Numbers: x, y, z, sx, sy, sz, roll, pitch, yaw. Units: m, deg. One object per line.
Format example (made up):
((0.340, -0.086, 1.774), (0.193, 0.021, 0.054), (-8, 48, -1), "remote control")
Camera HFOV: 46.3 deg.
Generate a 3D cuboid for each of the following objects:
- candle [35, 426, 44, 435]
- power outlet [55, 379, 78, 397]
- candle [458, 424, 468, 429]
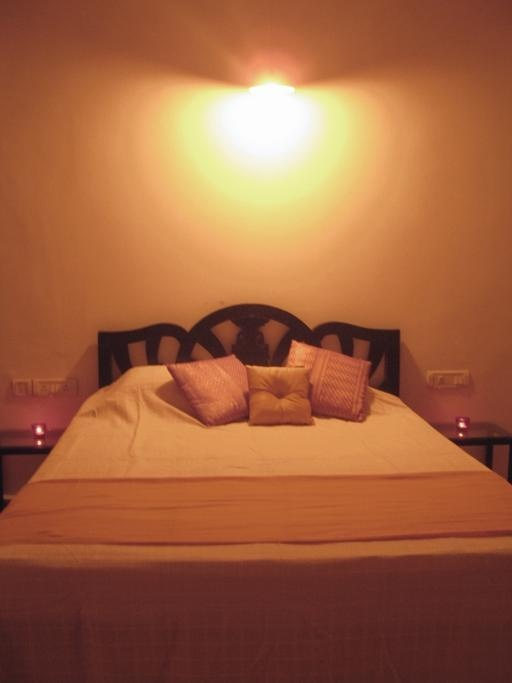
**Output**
((-0.941, 0.387, 2.597), (0.037, 0.040, 0.038), (5, -2, 30), "candle")
((-0.870, 0.211, 2.741), (0.118, 0.079, 0.063), (1, 20, -6), "power outlet")
((0.944, 0.388, 2.740), (0.026, 0.019, 0.026), (-3, 7, 3), "candle")
